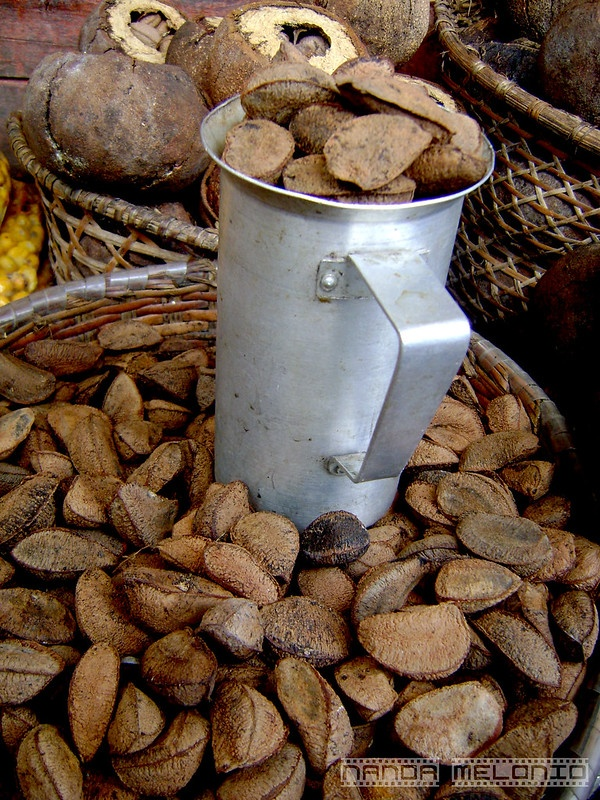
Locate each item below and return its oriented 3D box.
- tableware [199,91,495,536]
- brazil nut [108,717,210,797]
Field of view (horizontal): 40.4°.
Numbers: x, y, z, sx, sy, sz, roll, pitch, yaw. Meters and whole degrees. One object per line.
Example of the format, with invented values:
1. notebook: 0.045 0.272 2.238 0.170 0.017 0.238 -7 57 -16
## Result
1. tableware: 0.039 -0.055 1.048 0.265 0.558 0.440 -18 44 -27
2. brazil nut: -0.147 0.403 0.914 0.104 0.067 0.068 -20 44 -31
